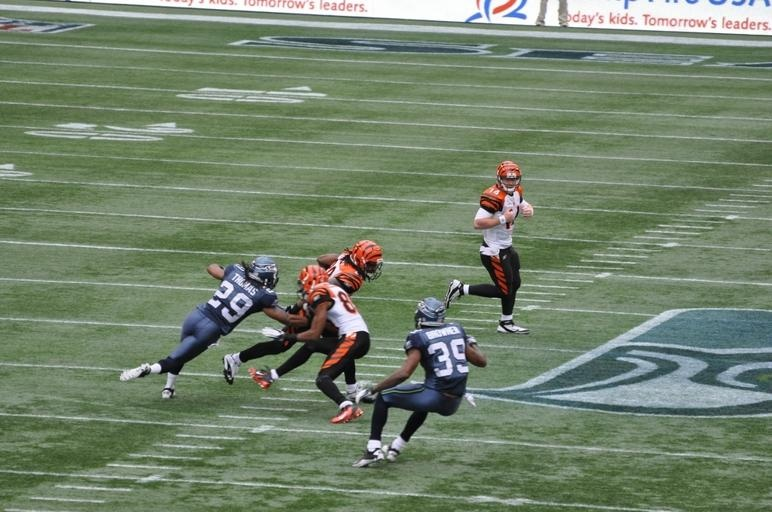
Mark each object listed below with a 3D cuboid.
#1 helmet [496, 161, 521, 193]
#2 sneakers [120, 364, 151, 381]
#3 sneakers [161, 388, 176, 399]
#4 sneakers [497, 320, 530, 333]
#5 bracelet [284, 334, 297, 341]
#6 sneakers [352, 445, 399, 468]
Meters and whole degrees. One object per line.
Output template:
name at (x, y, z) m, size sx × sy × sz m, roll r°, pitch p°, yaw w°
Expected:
helmet at (1.829, -1.208, 21.289) m, size 0.343 × 0.439 × 0.382 m, roll 4°, pitch 10°, yaw 2°
sneakers at (-3.337, 1.558, 18.841) m, size 0.611 × 0.126 × 0.246 m, roll -8°, pitch 8°, yaw 3°
sneakers at (-2.983, 1.849, 19.084) m, size 0.223 × 0.158 × 0.153 m, roll -1°, pitch 40°, yaw -6°
sneakers at (1.900, 1.055, 21.301) m, size 0.464 × 0.200 × 0.226 m, roll 2°, pitch 9°, yaw -1°
bracelet at (-1.297, 1.080, 18.680) m, size 0.161 × 0.111 × 0.182 m, roll 2°, pitch 8°, yaw -2°
sneakers at (-0.152, 2.493, 17.513) m, size 0.827 × 0.181 × 0.213 m, roll -7°, pitch -4°, yaw -12°
